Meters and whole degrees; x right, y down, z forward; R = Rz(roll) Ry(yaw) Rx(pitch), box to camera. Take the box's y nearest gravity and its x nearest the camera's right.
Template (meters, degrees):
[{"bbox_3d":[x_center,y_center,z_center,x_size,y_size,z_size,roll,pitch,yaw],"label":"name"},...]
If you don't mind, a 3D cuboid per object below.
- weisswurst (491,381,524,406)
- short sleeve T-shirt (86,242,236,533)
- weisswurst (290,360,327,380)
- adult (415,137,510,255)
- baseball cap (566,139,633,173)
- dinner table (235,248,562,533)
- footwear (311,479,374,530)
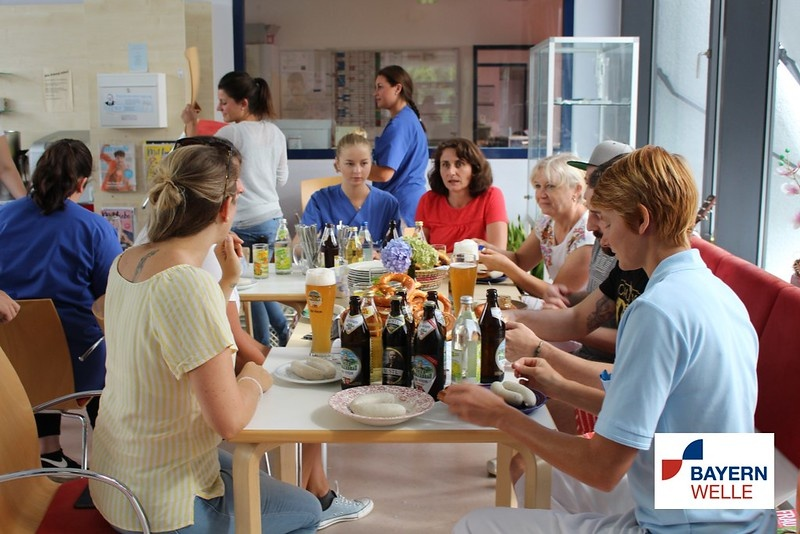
[{"bbox_3d":[0.361,0.422,2.319,0.054,0.036,0.109,-1,19,-24],"label":"weisswurst"},{"bbox_3d":[-0.784,0.410,2.262,0.524,0.846,0.257,4,12,29],"label":"short sleeve T-shirt"},{"bbox_3d":[-0.334,0.356,2.514,0.119,0.040,0.057,15,29,28],"label":"weisswurst"},{"bbox_3d":[0.399,-0.428,4.615,0.689,0.804,0.452,2,2,21],"label":"adult"},{"bbox_3d":[0.948,-0.540,3.361,0.292,0.135,0.183,12,12,11],"label":"baseball cap"},{"bbox_3d":[-0.093,0.448,2.300,0.759,0.447,0.678,1,10,2],"label":"dinner table"},{"bbox_3d":[-0.265,1.135,3.324,0.383,0.145,0.126,-4,9,-30],"label":"footwear"}]
